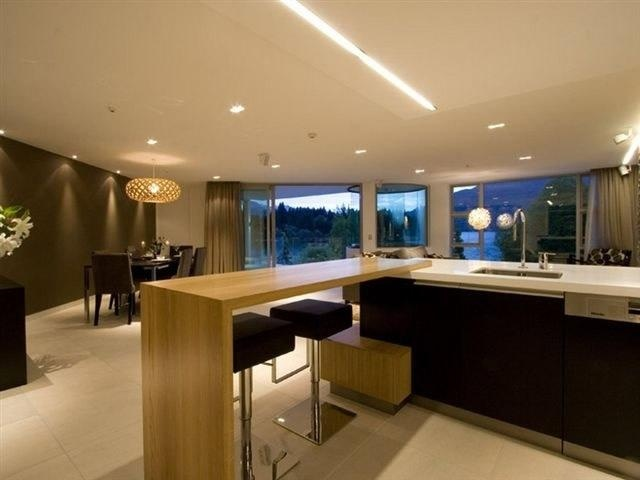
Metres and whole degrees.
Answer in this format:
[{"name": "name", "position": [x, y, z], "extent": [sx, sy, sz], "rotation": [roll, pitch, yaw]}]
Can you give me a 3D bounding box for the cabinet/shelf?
[{"name": "cabinet/shelf", "position": [1.317, 0.898, 4.013], "extent": [1.591, 1.587, 0.866], "rotation": [-1, -1, 33]}]
